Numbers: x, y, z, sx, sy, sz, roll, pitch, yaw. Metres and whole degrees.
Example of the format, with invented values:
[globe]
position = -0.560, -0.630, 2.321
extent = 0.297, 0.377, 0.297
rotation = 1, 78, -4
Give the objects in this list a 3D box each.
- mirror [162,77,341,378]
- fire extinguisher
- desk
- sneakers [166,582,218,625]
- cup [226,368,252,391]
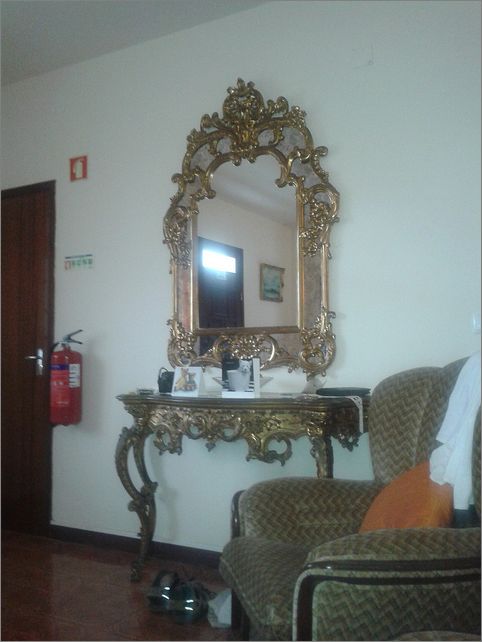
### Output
[mirror]
position = 0.033, -0.438, 3.281
extent = 0.941, 1.419, 0.132
rotation = -5, 0, 25
[fire extinguisher]
position = -0.943, 0.312, 3.651
extent = 0.183, 0.480, 0.106
rotation = -5, 0, -17
[desk]
position = -0.037, 0.731, 3.015
extent = 1.071, 0.801, 0.483
rotation = -1, -2, 16
[sneakers]
position = -0.198, 1.134, 2.757
extent = 0.178, 0.145, 0.252
rotation = -5, 0, 3
[cup]
position = -0.003, 0.256, 2.920
extent = 0.094, 0.065, 0.075
rotation = -3, -4, 12
